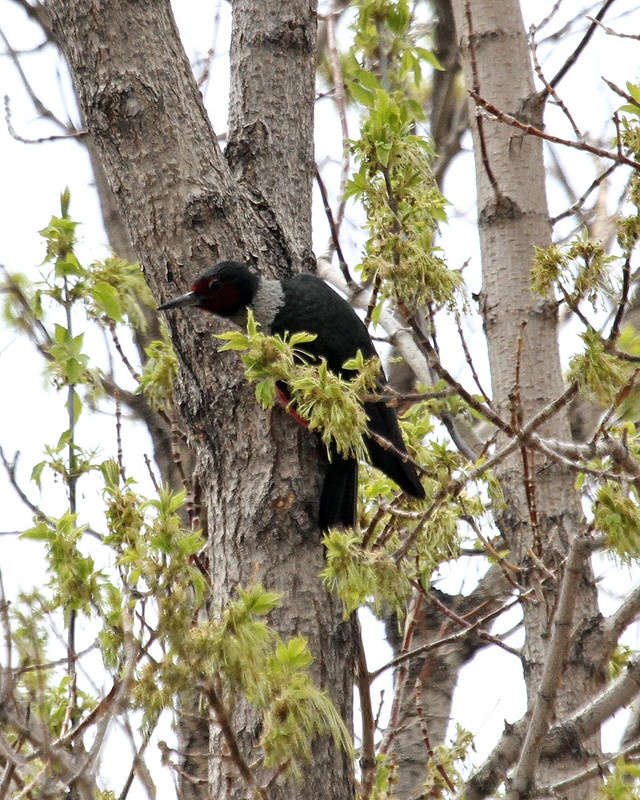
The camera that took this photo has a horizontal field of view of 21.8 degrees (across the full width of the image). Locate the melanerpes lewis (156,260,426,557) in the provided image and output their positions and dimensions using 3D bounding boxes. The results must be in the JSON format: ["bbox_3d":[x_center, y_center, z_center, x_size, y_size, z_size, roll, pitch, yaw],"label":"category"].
[{"bbox_3d":[-0.175,-0.013,6.212,1.055,0.625,1.334,-3,-101,0],"label":"melanerpes lewis"}]
